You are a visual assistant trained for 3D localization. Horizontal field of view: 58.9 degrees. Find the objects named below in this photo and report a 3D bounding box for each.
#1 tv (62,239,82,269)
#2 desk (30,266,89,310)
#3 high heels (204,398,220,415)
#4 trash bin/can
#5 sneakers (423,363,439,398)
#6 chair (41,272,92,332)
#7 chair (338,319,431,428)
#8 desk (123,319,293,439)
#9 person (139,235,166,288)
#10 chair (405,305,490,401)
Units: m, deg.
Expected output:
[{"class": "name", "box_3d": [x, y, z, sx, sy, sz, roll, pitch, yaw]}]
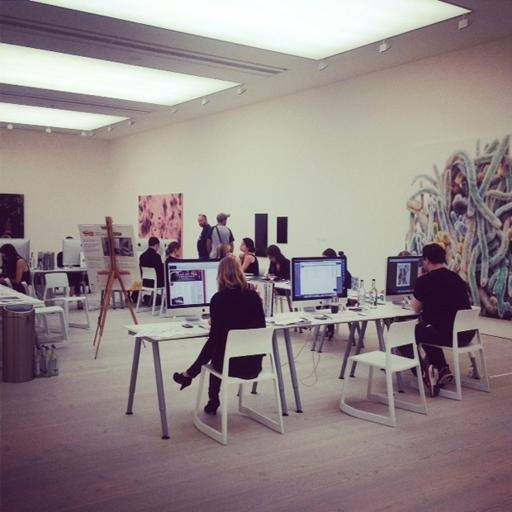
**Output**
[{"class": "tv", "box_3d": [-3.543, -0.044, 8.738, 0.504, 0.555, 0.178, -2, 6, -40]}, {"class": "desk", "box_3d": [-3.374, 0.508, 7.739, 0.732, 0.744, 0.564, -3, 3, -39]}, {"class": "high heels", "box_3d": [-0.355, 1.187, 3.615, 0.074, 0.137, 0.133, -1, 12, -15]}, {"class": "trash bin/can", "box_3d": [-2.321, 0.866, 4.416, 0.288, 0.703, 0.173, 0, 2, -27]}, {"class": "sneakers", "box_3d": [1.598, 1.126, 4.136, 0.094, 0.142, 0.300, 2, 32, -3]}, {"class": "chair", "box_3d": [-2.881, 0.683, 6.862, 0.543, 0.868, 0.431, 3, 4, 27]}, {"class": "chair", "box_3d": [1.063, 0.906, 3.719, 0.591, 0.823, 0.687, 1, 3, -11]}, {"class": "desk", "box_3d": [-0.437, 0.784, 3.395, 0.850, 0.638, 0.910, -1, 4, -35]}, {"class": "person", "box_3d": [-1.879, 0.109, 8.328, 0.425, 0.910, 0.698, 0, 1, -27]}, {"class": "chair", "box_3d": [1.880, 0.858, 4.256, 0.508, 0.790, 0.536, -2, 1, 8]}]
